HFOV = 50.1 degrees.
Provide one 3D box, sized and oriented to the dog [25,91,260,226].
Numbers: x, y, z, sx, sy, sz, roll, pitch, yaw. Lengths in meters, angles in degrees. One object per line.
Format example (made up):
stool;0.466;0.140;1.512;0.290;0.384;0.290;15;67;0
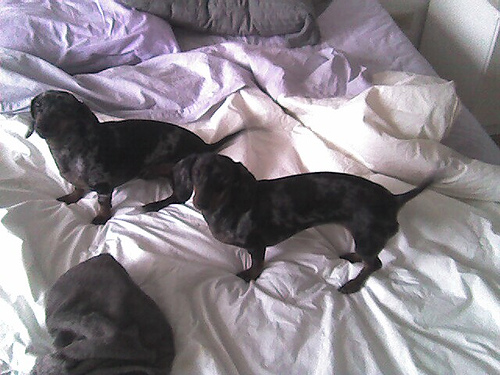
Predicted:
dog;-0.377;-0.148;1.952;0.747;0.429;0.267;-13;18;-21

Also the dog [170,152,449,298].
dog;0.138;0.033;1.852;1.047;0.494;0.369;4;46;-1

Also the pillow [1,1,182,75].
pillow;-0.672;-0.615;2.131;0.433;0.122;0.368;-5;58;-25
